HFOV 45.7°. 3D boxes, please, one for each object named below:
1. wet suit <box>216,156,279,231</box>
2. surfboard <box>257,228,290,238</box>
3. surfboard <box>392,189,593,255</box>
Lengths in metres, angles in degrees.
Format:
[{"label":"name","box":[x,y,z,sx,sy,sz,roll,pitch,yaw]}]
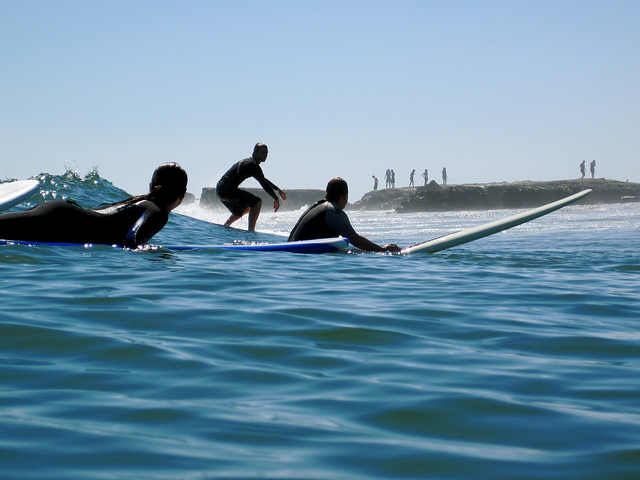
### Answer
[{"label":"wet suit","box":[-1.230,-0.870,14.086,1.569,1.561,0.769,2,4,12]},{"label":"surfboard","box":[-0.928,-0.105,16.579,0.303,0.107,1.916,23,2,13]},{"label":"surfboard","box":[2.134,-0.186,9.622,2.604,0.625,0.796,-7,16,-42]}]
